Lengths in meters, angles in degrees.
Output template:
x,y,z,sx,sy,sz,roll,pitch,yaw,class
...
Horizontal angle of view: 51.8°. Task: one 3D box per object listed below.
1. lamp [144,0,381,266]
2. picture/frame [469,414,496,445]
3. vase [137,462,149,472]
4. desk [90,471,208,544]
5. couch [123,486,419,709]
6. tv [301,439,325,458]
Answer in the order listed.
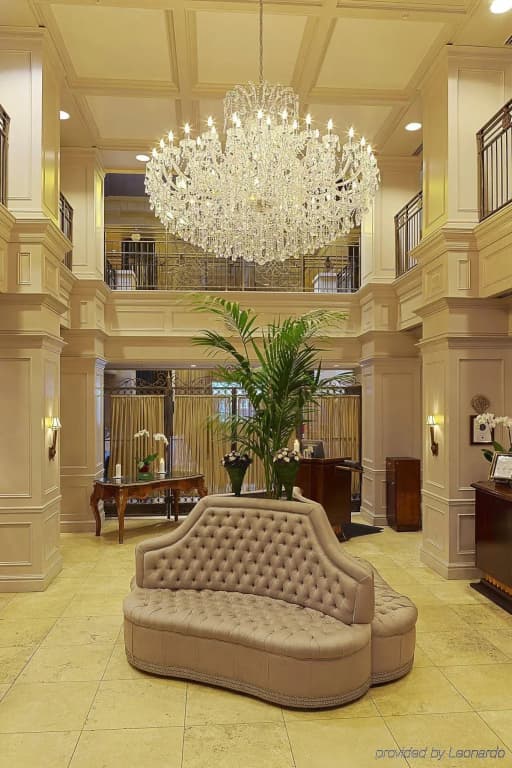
x,y,z,sx,sy,sz,roll,pitch,yaw,class
0.057,-2.520,4.983,1.542,2.726,1.623,5,-12,-21,lamp
2.230,0.438,5.214,0.264,0.397,0.047,-1,-3,-3,picture/frame
-1.606,1.184,7.553,0.139,0.145,0.236,1,-6,-13,vase
-1.512,1.743,7.601,0.746,0.891,1.646,0,-2,38,desk
0.022,1.329,3.194,1.251,0.677,1.286,-1,-3,20,couch
0.779,0.796,7.172,0.362,0.310,0.183,3,0,34,tv
